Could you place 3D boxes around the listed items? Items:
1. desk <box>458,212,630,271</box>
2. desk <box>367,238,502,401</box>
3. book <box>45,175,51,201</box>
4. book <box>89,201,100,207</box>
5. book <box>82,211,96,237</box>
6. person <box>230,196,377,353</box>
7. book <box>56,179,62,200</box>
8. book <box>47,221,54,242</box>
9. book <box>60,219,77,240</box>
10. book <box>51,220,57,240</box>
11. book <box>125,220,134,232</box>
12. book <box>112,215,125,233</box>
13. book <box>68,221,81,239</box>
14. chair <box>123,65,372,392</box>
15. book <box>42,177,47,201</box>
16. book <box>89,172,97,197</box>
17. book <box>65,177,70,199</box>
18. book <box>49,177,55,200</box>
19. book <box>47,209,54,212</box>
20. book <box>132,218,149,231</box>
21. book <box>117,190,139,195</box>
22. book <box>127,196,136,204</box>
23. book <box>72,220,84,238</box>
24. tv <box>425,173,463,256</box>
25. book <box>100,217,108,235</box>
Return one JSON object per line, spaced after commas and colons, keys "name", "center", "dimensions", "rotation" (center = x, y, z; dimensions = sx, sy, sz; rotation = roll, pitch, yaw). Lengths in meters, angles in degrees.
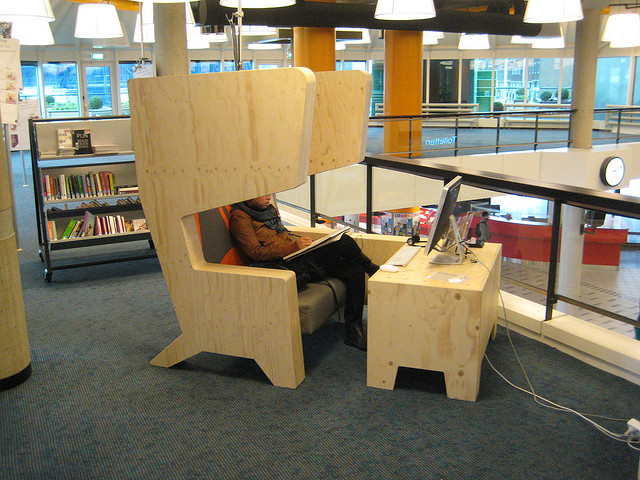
{"name": "desk", "center": [1.631, 0.013, 3.540], "dimensions": [0.965, 0.501, 0.388], "rotation": [7, 18, 33]}
{"name": "desk", "center": [0.761, 0.503, 3.322], "dimensions": [0.681, 0.791, 0.826], "rotation": [5, 17, 26]}
{"name": "book", "center": [-2.927, -0.574, 5.367], "dimensions": [0.046, 0.244, 0.091], "rotation": [-9, 17, -20]}
{"name": "book", "center": [-2.602, -0.410, 5.720], "dimensions": [0.083, 0.074, 0.024], "rotation": [-10, 11, 7]}
{"name": "book", "center": [-2.559, -0.181, 5.514], "dimensions": [0.081, 0.262, 0.155], "rotation": [3, 17, 20]}
{"name": "person", "center": [0.081, 0.027, 4.381], "dimensions": [1.234, 1.555, 1.144], "rotation": [8, 23, 31]}
{"name": "book", "center": [-2.826, -0.550, 5.388], "dimensions": [0.042, 0.200, 0.109], "rotation": [-11, 18, -26]}
{"name": "book", "center": [-2.922, -0.102, 5.409], "dimensions": [0.038, 0.198, 0.057], "rotation": [-8, 17, -15]}
{"name": "book", "center": [-2.753, -0.114, 5.446], "dimensions": [0.173, 0.202, 0.164], "rotation": [-5, 16, -8]}
{"name": "book", "center": [-2.905, -0.102, 5.451], "dimensions": [0.043, 0.164, 0.172], "rotation": [-1, 14, -21]}
{"name": "book", "center": [-2.224, -0.158, 5.801], "dimensions": [0.129, 0.111, 0.031], "rotation": [3, -27, -36]}
{"name": "book", "center": [-2.296, -0.175, 5.672], "dimensions": [0.211, 0.190, 0.116], "rotation": [-1, 1, 42]}
{"name": "book", "center": [-2.696, -0.113, 5.474], "dimensions": [0.055, 0.196, 0.054], "rotation": [21, -14, 9]}
{"name": "chair", "center": [-0.420, -0.123, 3.653], "dimensions": [1.451, 1.975, 1.195], "rotation": [5, 16, 24]}
{"name": "book", "center": [-2.939, -0.541, 5.317], "dimensions": [0.040, 0.239, 0.103], "rotation": [-9, 17, -18]}
{"name": "book", "center": [-2.539, -0.616, 5.572], "dimensions": [0.043, 0.277, 0.216], "rotation": [-10, 15, -9]}
{"name": "book", "center": [-2.757, -0.583, 5.448], "dimensions": [0.041, 0.161, 0.166], "rotation": [0, 20, -18]}
{"name": "book", "center": [-2.893, -0.563, 5.384], "dimensions": [0.031, 0.220, 0.065], "rotation": [-7, 17, -12]}
{"name": "book", "center": [-2.947, -0.321, 5.429], "dimensions": [0.047, 0.018, 0.097], "rotation": [-16, 20, -42]}
{"name": "book", "center": [-2.102, -0.171, 5.814], "dimensions": [0.142, 0.092, 0.178], "rotation": [-10, 16, -26]}
{"name": "book", "center": [-2.162, -0.541, 5.651], "dimensions": [0.320, 0.037, 0.125], "rotation": [4, 16, 23]}
{"name": "book", "center": [-2.213, -0.461, 5.833], "dimensions": [0.103, 0.020, 0.067], "rotation": [33, 40, 3]}
{"name": "book", "center": [-2.659, -0.119, 5.541], "dimensions": [0.062, 0.223, 0.060], "rotation": [35, -16, -36]}
{"name": "tv", "center": [0.880, -0.162, 3.524], "dimensions": [0.089, 0.451, 0.646], "rotation": [24, 26, 20]}
{"name": "book", "center": [-2.426, -0.153, 5.586], "dimensions": [0.107, 0.168, 0.183], "rotation": [-3, 7, -16]}
